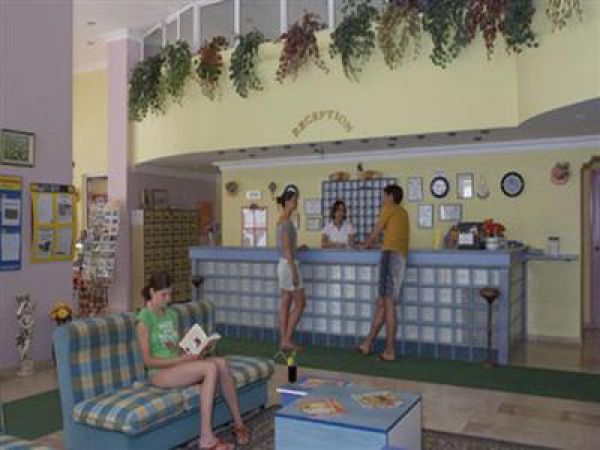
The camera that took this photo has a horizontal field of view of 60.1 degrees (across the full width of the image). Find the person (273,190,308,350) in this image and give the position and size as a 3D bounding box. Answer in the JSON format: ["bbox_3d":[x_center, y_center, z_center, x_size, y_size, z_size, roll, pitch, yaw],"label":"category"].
[{"bbox_3d":[-0.133,0.670,7.489,0.408,2.344,0.899,0,4,-2],"label":"person"}]

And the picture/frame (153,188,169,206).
[{"bbox_3d":[-3.255,-0.656,12.037,0.025,0.323,0.417,-5,0,17],"label":"picture/frame"}]

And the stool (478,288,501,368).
[{"bbox_3d":[2.481,1.316,6.793,0.288,0.929,0.344,0,-4,13],"label":"stool"}]

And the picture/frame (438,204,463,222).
[{"bbox_3d":[2.669,-0.224,9.141,0.262,0.252,0.040,2,6,28],"label":"picture/frame"}]

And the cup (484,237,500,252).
[{"bbox_3d":[2.635,0.269,7.108,0.156,0.145,0.167,0,5,0],"label":"cup"}]

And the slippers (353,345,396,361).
[{"bbox_3d":[1.010,1.723,7.129,0.176,0.155,0.591,2,0,-29],"label":"slippers"}]

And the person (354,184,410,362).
[{"bbox_3d":[1.169,0.642,7.014,0.570,2.363,0.340,0,4,9],"label":"person"}]

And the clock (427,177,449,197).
[{"bbox_3d":[2.479,-0.688,9.216,0.324,0.387,0.093,1,4,16],"label":"clock"}]

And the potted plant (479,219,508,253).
[{"bbox_3d":[2.703,0.129,7.297,0.389,0.535,0.491,-2,2,-8],"label":"potted plant"}]

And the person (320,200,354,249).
[{"bbox_3d":[0.598,-0.011,8.147,0.609,1.049,0.626,0,0,-1],"label":"person"}]

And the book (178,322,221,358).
[{"bbox_3d":[-0.937,1.090,4.853,0.307,0.129,0.295,28,48,28],"label":"book"}]

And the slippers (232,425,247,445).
[{"bbox_3d":[-0.557,1.940,4.786,0.100,0.100,0.205,1,-7,-19],"label":"slippers"}]
